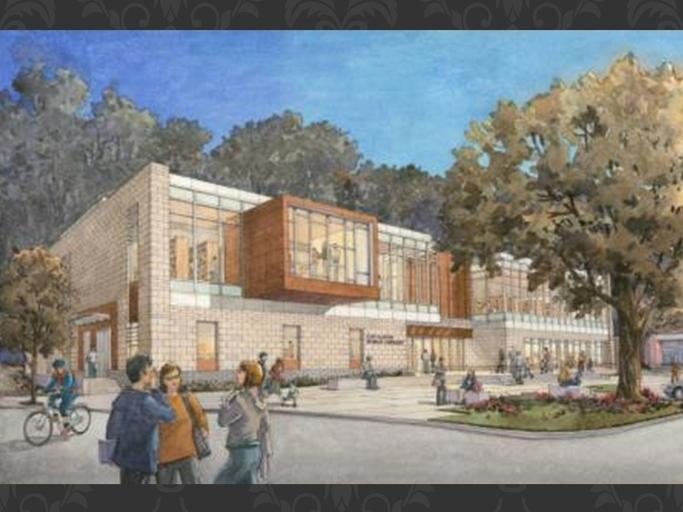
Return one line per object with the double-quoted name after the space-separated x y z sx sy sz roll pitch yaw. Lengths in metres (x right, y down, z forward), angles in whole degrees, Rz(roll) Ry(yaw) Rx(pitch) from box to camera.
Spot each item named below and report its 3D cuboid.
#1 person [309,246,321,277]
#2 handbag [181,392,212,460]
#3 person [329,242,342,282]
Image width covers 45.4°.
-0.636 0.126 19.066 0.198 0.733 0.455 -6 -9 28 "person"
-2.141 2.477 11.930 0.391 0.951 0.507 0 -8 -10 "handbag"
-0.132 0.149 19.073 0.324 0.836 0.345 -1 -8 -1 "person"
